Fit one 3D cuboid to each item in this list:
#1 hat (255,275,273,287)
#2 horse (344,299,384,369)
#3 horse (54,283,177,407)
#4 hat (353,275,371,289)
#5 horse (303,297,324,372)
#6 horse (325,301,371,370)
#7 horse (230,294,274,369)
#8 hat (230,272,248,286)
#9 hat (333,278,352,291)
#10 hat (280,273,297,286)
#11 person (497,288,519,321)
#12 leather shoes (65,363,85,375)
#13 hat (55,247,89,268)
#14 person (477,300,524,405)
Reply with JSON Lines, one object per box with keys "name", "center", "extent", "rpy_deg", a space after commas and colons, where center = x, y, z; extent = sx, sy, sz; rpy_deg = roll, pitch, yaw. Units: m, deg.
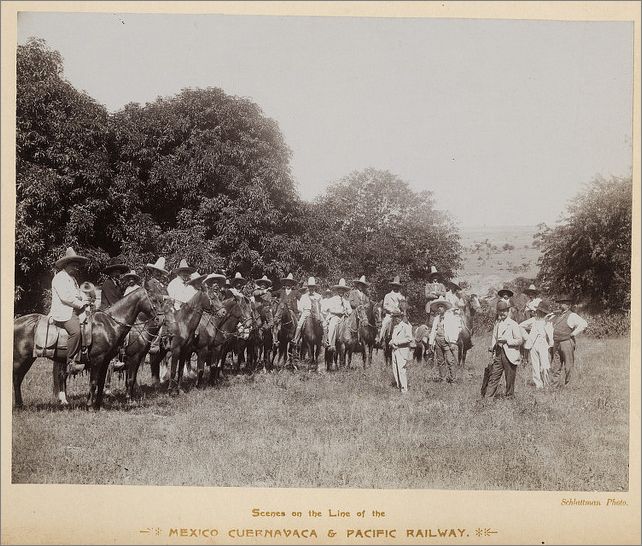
{"name": "hat", "center": [-1.867, 0.310, 25.140], "extent": [0.359, 0.176, 0.434], "rpy_deg": [5, -36, -3]}
{"name": "horse", "center": [1.434, 1.992, 24.423], "extent": [0.583, 1.401, 2.067], "rpy_deg": [-28, -30, 25]}
{"name": "horse", "center": [-5.456, 1.982, 18.675], "extent": [4.073, 3.089, 1.015], "rpy_deg": [-10, -18, 23]}
{"name": "hat", "center": [1.452, 0.236, 26.575], "extent": [0.482, 0.268, 0.509], "rpy_deg": [19, -31, -2]}
{"name": "horse", "center": [-0.251, 1.987, 23.902], "extent": [0.705, 2.256, 1.787], "rpy_deg": [-1, -5, 0]}
{"name": "horse", "center": [0.903, 2.132, 24.245], "extent": [0.788, 1.964, 2.798], "rpy_deg": [2, -11, -20]}
{"name": "horse", "center": [-2.395, 1.578, 23.980], "extent": [0.847, 2.349, 3.246], "rpy_deg": [1, 9, -8]}
{"name": "hat", "center": [-2.661, 0.201, 24.307], "extent": [0.425, 0.118, 0.449], "rpy_deg": [1, -48, -14]}
{"name": "hat", "center": [0.697, 0.429, 25.527], "extent": [0.376, 0.236, 0.556], "rpy_deg": [3, -24, -4]}
{"name": "hat", "center": [-1.061, 0.188, 25.360], "extent": [0.410, 0.182, 0.430], "rpy_deg": [6, -38, 1]}
{"name": "person", "center": [5.527, 0.877, 22.275], "extent": [1.002, 0.623, 1.483], "rpy_deg": [1, -11, 7]}
{"name": "leather shoes", "center": [-5.854, 2.276, 18.041], "extent": [0.281, 0.293, 0.396], "rpy_deg": [-2, -5, -18]}
{"name": "hat", "center": [-6.012, -0.470, 18.078], "extent": [0.562, 0.258, 0.627], "rpy_deg": [-2, -27, -29]}
{"name": "person", "center": [4.752, 1.975, 19.685], "extent": [0.885, 2.551, 1.144], "rpy_deg": [0, -5, -6]}
